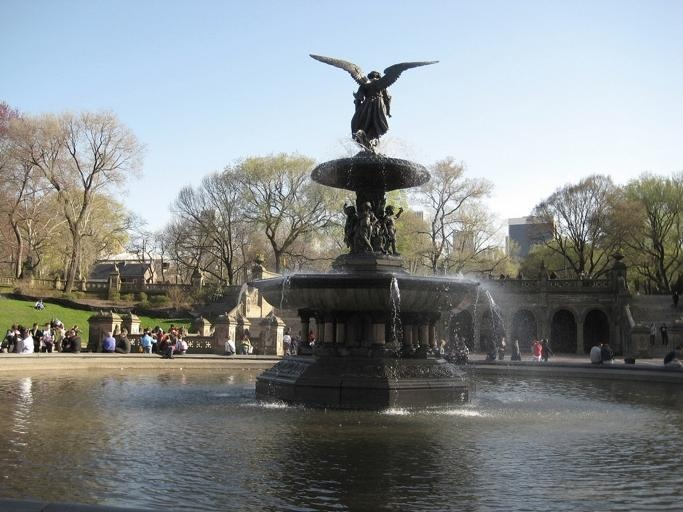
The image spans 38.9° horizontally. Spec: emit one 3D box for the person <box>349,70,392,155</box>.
[{"bbox_3d":[0.783,-3.996,27.056,1.053,2.317,0.701,-3,-9,12],"label":"person"}]

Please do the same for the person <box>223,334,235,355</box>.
[{"bbox_3d":[-4.790,3.861,41.485,0.645,1.124,0.740,-2,2,-15],"label":"person"}]

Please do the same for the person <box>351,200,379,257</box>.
[{"bbox_3d":[0.608,-0.738,26.266,0.690,1.440,0.423,-2,-9,2],"label":"person"}]

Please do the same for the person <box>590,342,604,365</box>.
[{"bbox_3d":[9.918,3.845,37.655,0.444,0.736,1.266,-3,-9,14],"label":"person"}]
